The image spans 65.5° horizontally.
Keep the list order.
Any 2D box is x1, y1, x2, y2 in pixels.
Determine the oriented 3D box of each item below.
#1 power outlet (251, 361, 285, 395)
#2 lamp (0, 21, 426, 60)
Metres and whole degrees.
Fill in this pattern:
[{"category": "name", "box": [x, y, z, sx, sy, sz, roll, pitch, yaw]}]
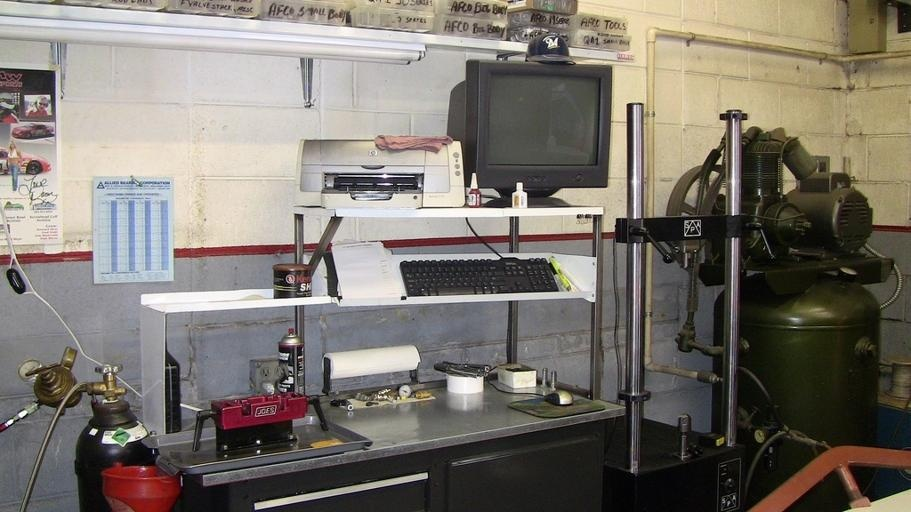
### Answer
[{"category": "power outlet", "box": [-0.936, 0.613, 3.574, 0.193, 0.162, 0.147, 4, 9, 15]}, {"category": "lamp", "box": [-1.121, -1.027, 3.410, 1.861, 0.193, 0.179, -5, 10, -15]}]
